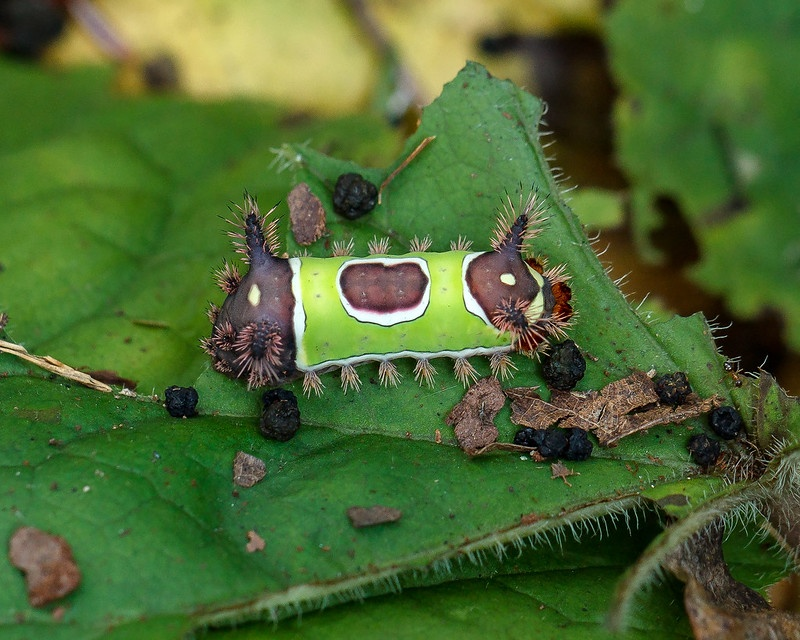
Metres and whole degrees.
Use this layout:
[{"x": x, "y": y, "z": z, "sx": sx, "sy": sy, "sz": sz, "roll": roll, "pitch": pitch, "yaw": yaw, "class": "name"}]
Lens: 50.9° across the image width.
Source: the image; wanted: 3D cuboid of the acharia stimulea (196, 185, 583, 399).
[{"x": -0.085, "y": -0.094, "z": 5.830, "sx": 2.590, "sy": 1.072, "sz": 1.108, "roll": -7, "pitch": 46, "yaw": -6, "class": "acharia stimulea"}]
